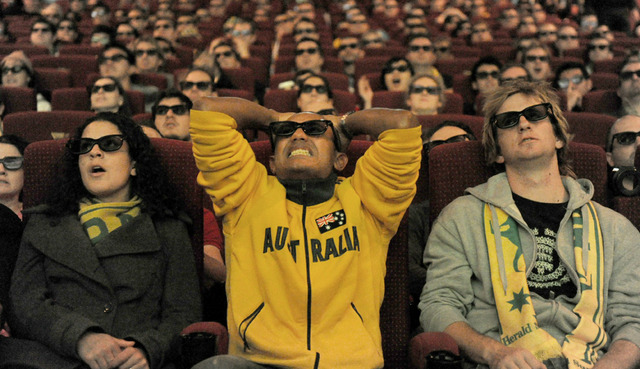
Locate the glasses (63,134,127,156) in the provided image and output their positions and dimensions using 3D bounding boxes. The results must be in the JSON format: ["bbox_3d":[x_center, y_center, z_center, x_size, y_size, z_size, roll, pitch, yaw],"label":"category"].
[{"bbox_3d":[-1.552,-0.275,4.613,0.394,0.130,0.107,-5,11,-16],"label":"glasses"}]

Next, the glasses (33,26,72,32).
[{"bbox_3d":[-4.229,-2.388,10.252,0.240,0.077,0.294,0,9,1],"label":"glasses"}]

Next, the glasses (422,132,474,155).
[{"bbox_3d":[1.019,-0.344,5.384,0.459,0.121,0.158,-5,10,-13],"label":"glasses"}]

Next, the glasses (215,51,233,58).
[{"bbox_3d":[-1.222,-1.651,8.436,0.197,0.066,0.042,-5,11,-13],"label":"glasses"}]

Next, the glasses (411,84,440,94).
[{"bbox_3d":[1.095,-1.000,7.019,0.311,0.078,0.100,-2,10,4],"label":"glasses"}]

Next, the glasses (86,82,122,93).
[{"bbox_3d":[-2.208,-0.994,6.888,0.311,0.105,0.097,-5,10,-15],"label":"glasses"}]
